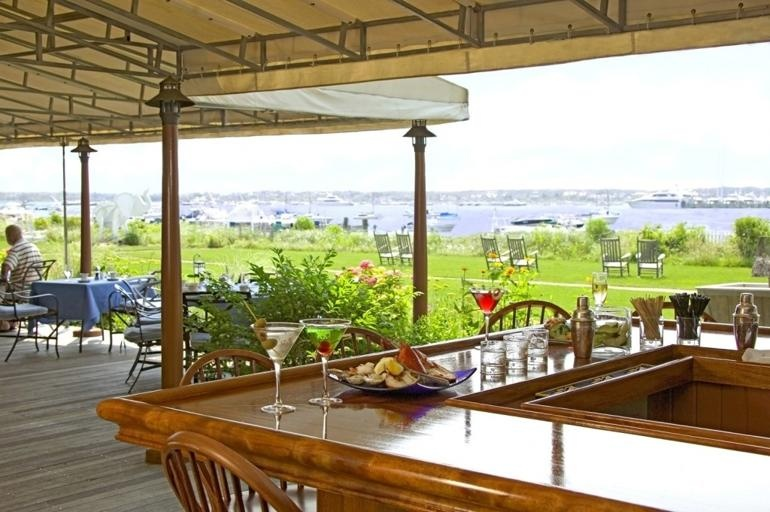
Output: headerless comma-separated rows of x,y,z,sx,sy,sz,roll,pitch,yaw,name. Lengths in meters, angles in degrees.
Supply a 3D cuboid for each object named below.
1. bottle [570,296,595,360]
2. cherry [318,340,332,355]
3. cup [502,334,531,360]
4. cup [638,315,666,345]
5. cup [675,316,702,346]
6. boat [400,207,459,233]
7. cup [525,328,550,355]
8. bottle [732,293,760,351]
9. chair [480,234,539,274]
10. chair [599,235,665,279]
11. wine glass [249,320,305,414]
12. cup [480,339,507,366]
0.876,0.326,2.735,0.134,0.275,0.137,5,-9,1,bottle
-0.201,0.301,1.993,0.054,0.031,0.049,1,-12,-4,cherry
0.553,0.378,2.532,0.104,0.068,0.098,0,-1,0,cup
1.294,0.360,2.927,0.153,0.142,0.139,-1,-1,-2,cup
1.490,0.374,3.037,0.151,0.138,0.133,-3,3,-17,cup
2.055,-1.439,28.772,2.780,0.905,1.922,1,8,9,boat
0.649,0.374,2.637,0.119,0.107,0.123,0,-2,0,cup
1.732,0.315,2.900,0.102,0.270,0.393,-2,9,29,bottle
2.719,-0.069,12.948,1.326,0.762,0.525,4,16,42,chair
5.285,0.043,12.862,1.130,0.590,0.384,2,9,14,chair
-0.365,0.339,2.088,0.177,0.335,0.388,-9,8,-12,wine glass
0.434,0.392,2.428,0.103,0.074,0.100,0,-3,0,cup
